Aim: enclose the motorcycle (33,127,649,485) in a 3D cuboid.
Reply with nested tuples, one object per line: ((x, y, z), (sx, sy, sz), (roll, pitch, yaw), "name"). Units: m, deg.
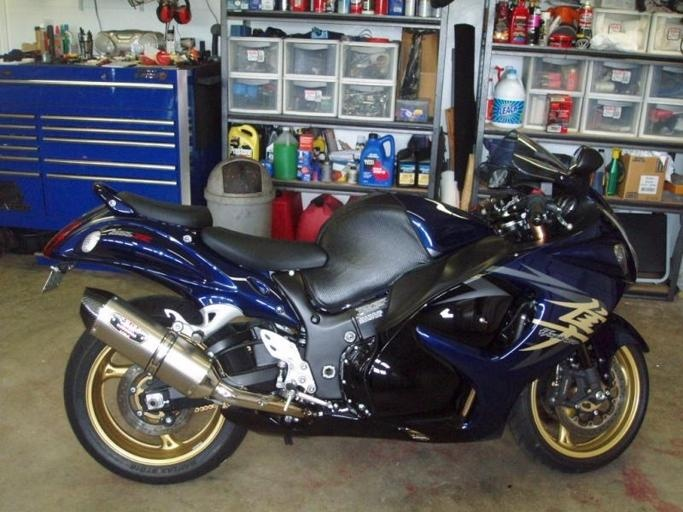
((0.084, 0.240, 2.281), (2.338, 1.410, 0.663), (-4, 24, -11), "motorcycle")

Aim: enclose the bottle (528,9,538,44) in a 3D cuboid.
((1.319, -1.555, 3.956), (0.075, 0.213, 0.108), (7, 24, 13), "bottle")

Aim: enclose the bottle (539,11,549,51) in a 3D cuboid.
((1.400, -1.558, 3.978), (0.068, 0.220, 0.276), (8, 23, 15), "bottle")

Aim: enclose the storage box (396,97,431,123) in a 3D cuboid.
((0.516, -1.049, 4.201), (0.348, 0.184, 0.163), (3, 22, 3), "storage box")

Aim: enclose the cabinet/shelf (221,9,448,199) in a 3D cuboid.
((-0.066, -1.096, 4.203), (1.916, 1.476, 0.558), (1, 15, 3), "cabinet/shelf")
